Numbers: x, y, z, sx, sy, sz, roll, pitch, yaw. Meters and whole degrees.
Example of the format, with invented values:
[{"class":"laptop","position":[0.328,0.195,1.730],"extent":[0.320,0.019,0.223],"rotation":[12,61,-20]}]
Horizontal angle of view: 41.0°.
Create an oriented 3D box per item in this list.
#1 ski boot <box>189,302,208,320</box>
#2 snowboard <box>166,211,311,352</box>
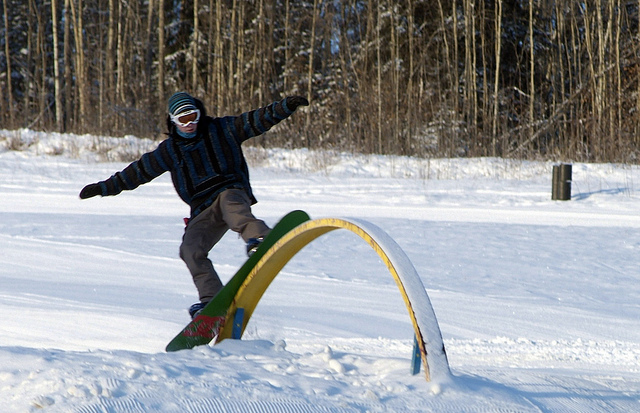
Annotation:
[{"class":"ski boot","position":[-2.788,2.305,19.335],"extent":[0.552,0.262,0.190],"rotation":[-31,-3,-2]},{"class":"snowboard","position":[-1.837,1.814,19.697],"extent":[0.674,3.231,0.454],"rotation":[39,-10,-37]}]
